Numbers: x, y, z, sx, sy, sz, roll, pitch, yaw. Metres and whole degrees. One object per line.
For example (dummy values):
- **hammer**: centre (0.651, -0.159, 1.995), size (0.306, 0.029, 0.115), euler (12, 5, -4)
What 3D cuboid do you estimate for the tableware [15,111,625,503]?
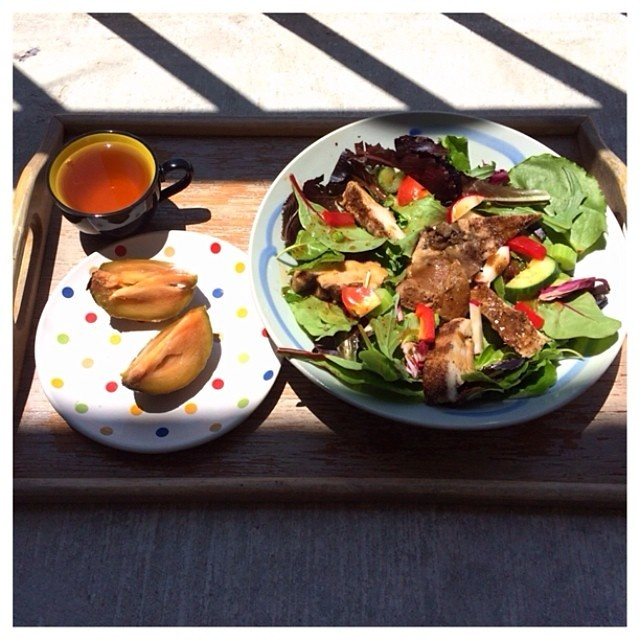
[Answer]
- **tableware**: centre (0.001, -0.070, 1.235), size (1.158, 0.176, 0.798), euler (0, 65, 1)

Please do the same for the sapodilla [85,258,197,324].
- **sapodilla**: centre (-0.301, -0.054, 1.168), size (0.190, 0.049, 0.102), euler (-1, 56, -4)

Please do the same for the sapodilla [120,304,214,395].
- **sapodilla**: centre (-0.243, 0.057, 1.155), size (0.129, 0.062, 0.157), euler (33, 64, 16)
